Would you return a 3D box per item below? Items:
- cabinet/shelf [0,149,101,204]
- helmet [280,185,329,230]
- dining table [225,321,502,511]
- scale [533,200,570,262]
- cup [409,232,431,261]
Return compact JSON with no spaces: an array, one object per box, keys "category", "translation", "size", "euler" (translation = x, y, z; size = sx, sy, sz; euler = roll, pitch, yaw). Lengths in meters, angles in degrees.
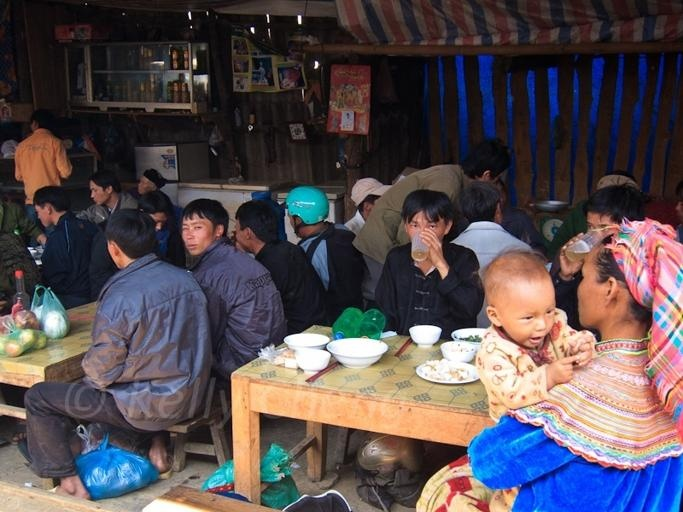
[{"category":"cabinet/shelf","translation":[-3.454,-0.934,6.707],"size":[0.910,0.891,0.327],"euler":[2,8,-16]},{"category":"helmet","translation":[-0.277,-0.416,4.439],"size":[0.243,0.267,0.320],"euler":[-15,42,-34]},{"category":"dining table","translation":[0.069,0.497,2.800],"size":[1.237,0.840,0.696],"euler":[7,19,23]},{"category":"scale","translation":[2.353,-0.287,6.412],"size":[0.303,0.351,0.299],"euler":[2,12,36]},{"category":"cup","translation":[0.436,-0.060,3.295],"size":[0.143,0.139,0.214],"euler":[3,36,3]}]
